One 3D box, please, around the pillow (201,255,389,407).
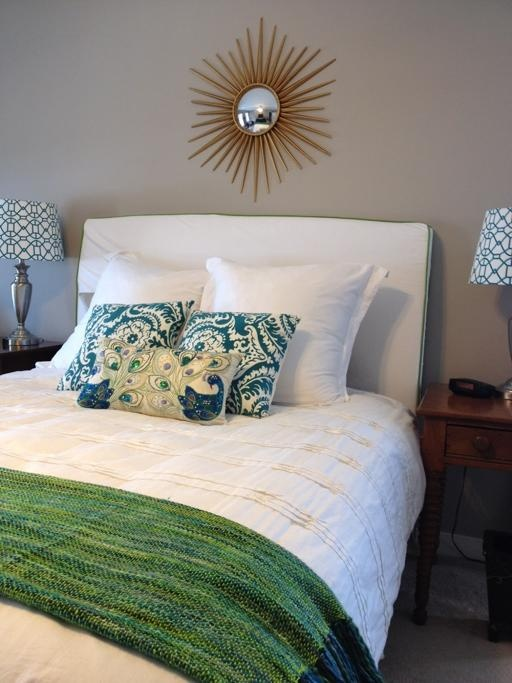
[{"bbox_3d":[-0.010,0.001,1.974,0.604,0.485,0.323,2,7,29],"label":"pillow"}]
